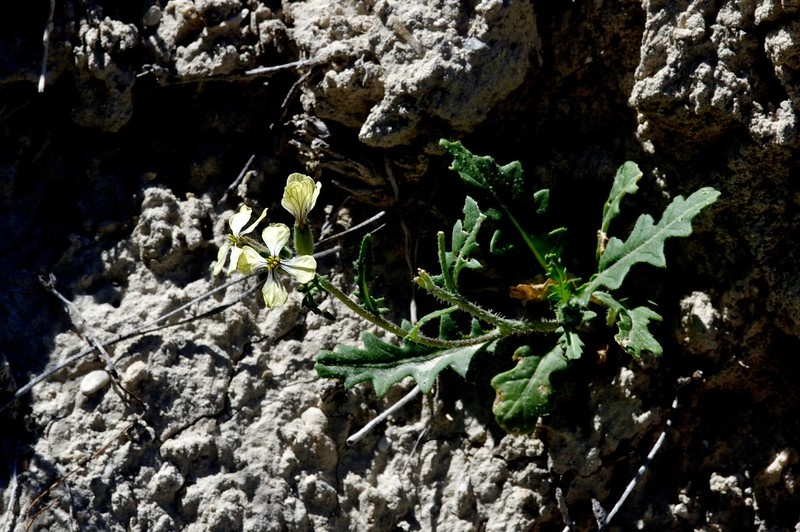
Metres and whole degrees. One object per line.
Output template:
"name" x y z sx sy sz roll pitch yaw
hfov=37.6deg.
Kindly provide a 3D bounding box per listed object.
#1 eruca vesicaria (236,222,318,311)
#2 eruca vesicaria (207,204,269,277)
"eruca vesicaria" -0.818 -0.003 7.821 0.504 0.547 0.187 0 -2 -12
"eruca vesicaria" -1.079 -0.188 7.985 0.375 0.153 0.433 -43 -20 2
